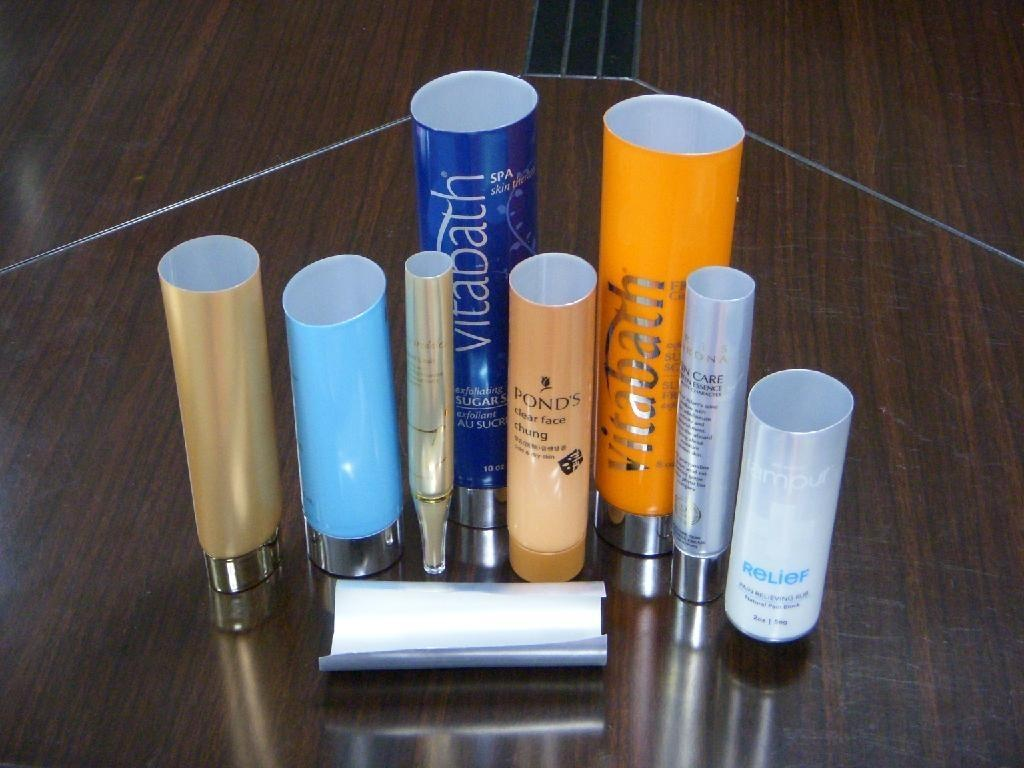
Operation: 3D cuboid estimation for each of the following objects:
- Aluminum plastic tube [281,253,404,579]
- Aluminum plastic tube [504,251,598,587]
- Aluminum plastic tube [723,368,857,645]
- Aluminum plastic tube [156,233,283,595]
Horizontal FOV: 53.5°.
[{"bbox_3d":[-0.096,0.012,0.579,0.052,0.205,0.058,1,26,2],"label":"Aluminum plastic tube"},{"bbox_3d":[0.021,0.027,0.571,0.055,0.197,0.035,-3,23,2],"label":"Aluminum plastic tube"},{"bbox_3d":[0.146,0.071,0.546,0.061,0.157,0.041,2,24,13],"label":"Aluminum plastic tube"},{"bbox_3d":[-0.157,0.023,0.567,0.056,0.207,0.055,-14,25,-22],"label":"Aluminum plastic tube"}]
